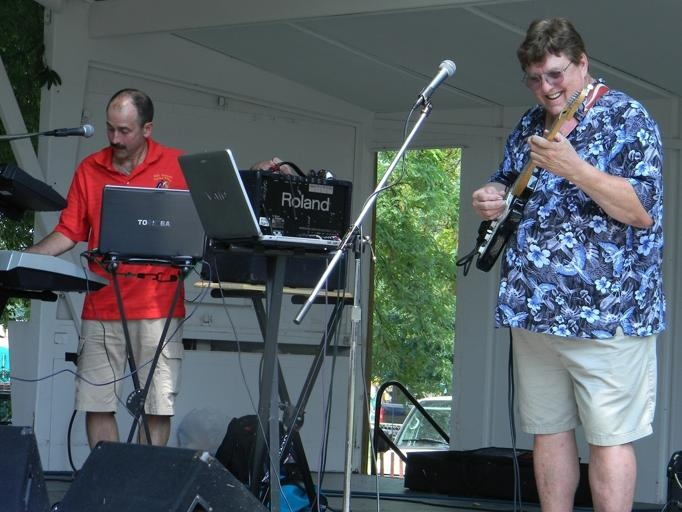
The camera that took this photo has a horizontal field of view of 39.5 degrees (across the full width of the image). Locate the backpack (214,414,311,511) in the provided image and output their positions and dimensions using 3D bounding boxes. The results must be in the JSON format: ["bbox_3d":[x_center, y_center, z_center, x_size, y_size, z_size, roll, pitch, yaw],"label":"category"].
[{"bbox_3d":[-0.412,1.083,4.893,0.362,0.554,0.194,-10,-24,-3],"label":"backpack"}]

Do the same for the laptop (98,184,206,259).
[{"bbox_3d":[-0.850,-0.137,4.259,0.432,0.331,0.320,3,-2,-6],"label":"laptop"}]

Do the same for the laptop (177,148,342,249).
[{"bbox_3d":[-0.299,-0.196,3.951,0.476,0.330,0.466,2,-1,-41],"label":"laptop"}]
